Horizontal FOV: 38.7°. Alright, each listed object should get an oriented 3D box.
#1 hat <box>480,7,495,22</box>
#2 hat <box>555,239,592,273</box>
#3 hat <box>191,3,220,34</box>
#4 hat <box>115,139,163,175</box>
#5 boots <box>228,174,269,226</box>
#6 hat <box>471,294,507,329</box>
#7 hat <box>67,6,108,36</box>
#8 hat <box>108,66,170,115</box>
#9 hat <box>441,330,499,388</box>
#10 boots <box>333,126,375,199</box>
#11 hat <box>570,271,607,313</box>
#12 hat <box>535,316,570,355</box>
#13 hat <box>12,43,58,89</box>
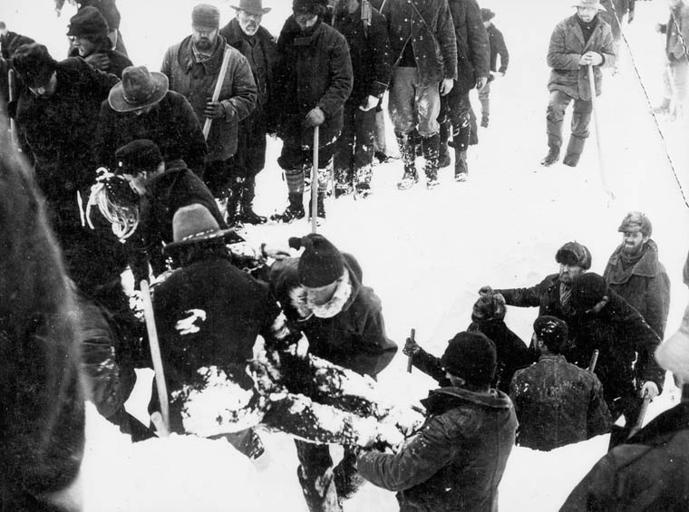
[{"bbox_3d":[1.075,-1.828,7.416,0.074,0.109,0.035,-1,23,-2],"label":"hat"},{"bbox_3d":[1.668,0.003,7.066,0.285,0.191,0.110,2,1,-12],"label":"hat"},{"bbox_3d":[-0.969,-1.666,6.842,0.155,0.206,0.140,-1,-30,-10],"label":"hat"},{"bbox_3d":[-1.410,-0.715,6.679,0.261,0.214,0.213,-13,22,-17],"label":"hat"},{"bbox_3d":[-0.734,-0.389,7.056,0.316,0.476,0.208,-1,8,-20],"label":"boots"},{"bbox_3d":[1.022,0.415,6.961,0.207,0.265,0.189,11,-5,6],"label":"hat"},{"bbox_3d":[-1.787,-1.629,6.815,0.224,0.178,0.188,2,21,6],"label":"hat"},{"bbox_3d":[-1.412,-1.126,6.687,0.299,0.360,0.133,8,-15,16],"label":"hat"},{"bbox_3d":[0.744,0.626,5.980,0.220,0.337,0.348,-5,28,-18],"label":"hat"},{"bbox_3d":[0.053,-0.701,7.456,0.259,0.748,0.215,11,-39,-7],"label":"boots"},{"bbox_3d":[1.724,0.258,6.998,0.177,0.344,0.282,2,1,4],"label":"hat"},{"bbox_3d":[1.371,0.508,6.632,0.161,0.243,0.258,-6,38,-15],"label":"hat"},{"bbox_3d":[-2.110,-1.299,6.706,0.196,0.360,0.113,-11,-2,-9],"label":"hat"}]
